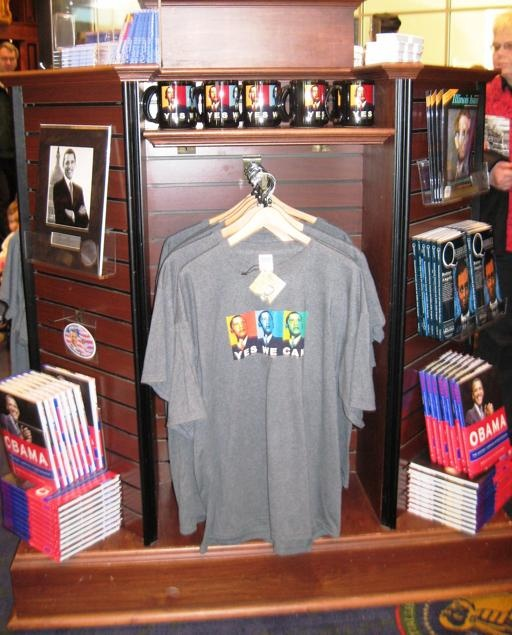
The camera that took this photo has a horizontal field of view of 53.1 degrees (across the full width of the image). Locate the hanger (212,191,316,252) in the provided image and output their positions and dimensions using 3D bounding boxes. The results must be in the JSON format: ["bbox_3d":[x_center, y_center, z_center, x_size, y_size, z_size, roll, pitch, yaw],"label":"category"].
[{"bbox_3d":[0.022,-0.275,1.441,0.308,0.138,0.213,-5,15,-6],"label":"hanger"}]

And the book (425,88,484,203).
[{"bbox_3d":[0.614,-0.542,1.600,0.099,0.319,0.276,12,27,43],"label":"book"}]

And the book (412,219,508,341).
[{"bbox_3d":[0.665,-0.129,1.690,0.116,0.380,0.337,4,21,44],"label":"book"}]

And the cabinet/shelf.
[{"bbox_3d":[-0.007,0.053,1.562,1.413,1.800,0.587,-4,18,-10],"label":"cabinet/shelf"}]

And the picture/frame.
[{"bbox_3d":[-0.514,-0.334,1.432,0.320,0.488,0.030,15,16,38],"label":"picture/frame"}]
